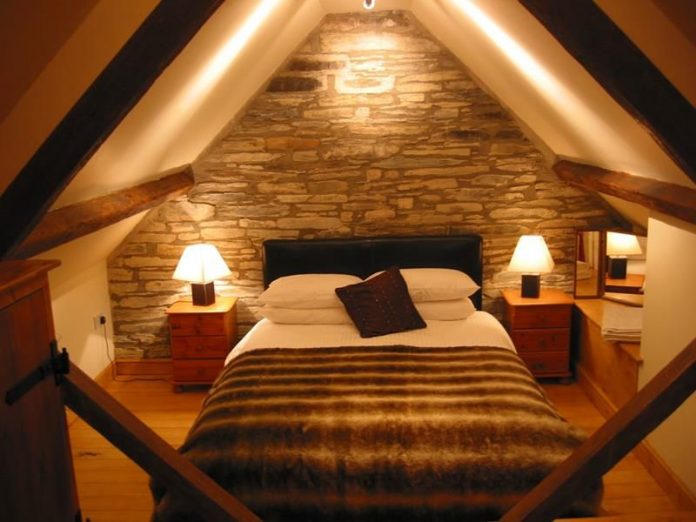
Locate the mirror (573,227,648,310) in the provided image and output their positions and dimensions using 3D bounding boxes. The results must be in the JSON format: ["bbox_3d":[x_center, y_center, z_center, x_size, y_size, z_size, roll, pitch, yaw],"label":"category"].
[{"bbox_3d":[2.108,0.055,4.552,0.706,0.507,0.366,13,22,38],"label":"mirror"}]
